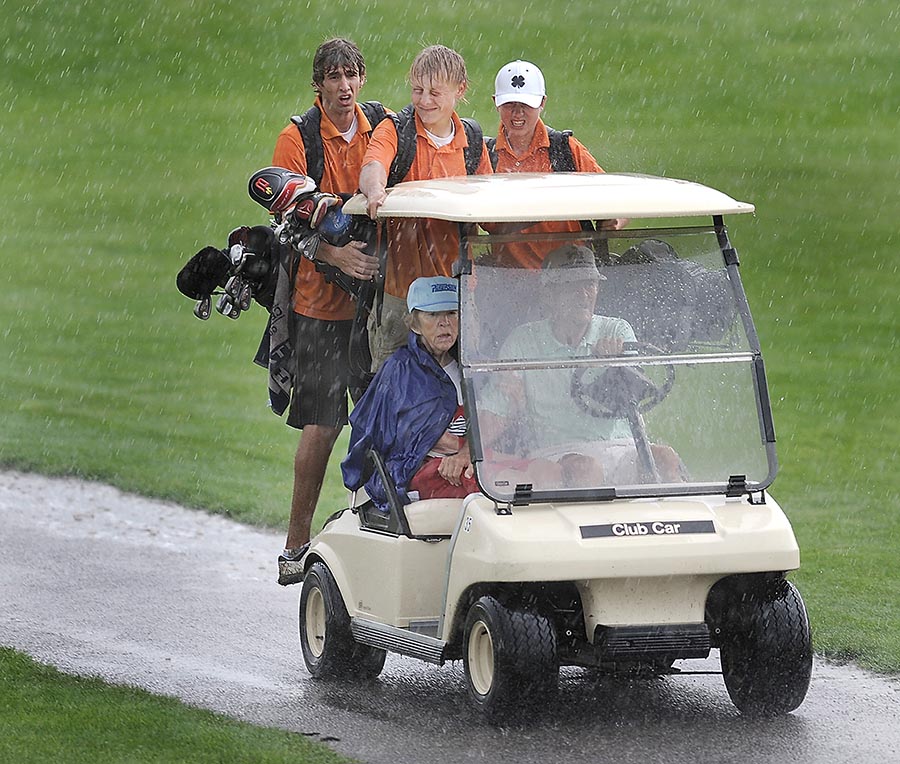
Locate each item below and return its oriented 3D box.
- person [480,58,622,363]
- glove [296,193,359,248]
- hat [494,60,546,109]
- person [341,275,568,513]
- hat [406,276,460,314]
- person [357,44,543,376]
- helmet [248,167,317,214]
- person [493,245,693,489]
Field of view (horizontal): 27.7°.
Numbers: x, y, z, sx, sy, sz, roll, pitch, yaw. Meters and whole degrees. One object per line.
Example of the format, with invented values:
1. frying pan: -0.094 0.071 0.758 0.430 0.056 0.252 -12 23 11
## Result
1. person: 0.453 -0.795 9.734 0.823 1.781 0.560 -5 13 10
2. glove: -0.630 -0.834 9.328 0.296 0.221 0.129 41 39 11
3. hat: 0.382 -1.581 9.645 0.169 0.173 0.285 1 16 5
4. person: -0.075 0.007 8.991 0.924 1.426 0.822 -2 3 -44
5. hat: -0.053 -0.415 8.697 0.368 0.174 0.133 10 14 43
6. person: -0.154 -0.743 9.446 0.922 1.942 0.959 -1 10 -31
7. helmet: -0.869 -0.990 9.488 0.404 0.240 0.272 3 11 15
8. person: 0.594 -0.083 8.237 0.883 1.018 0.468 0 9 0
